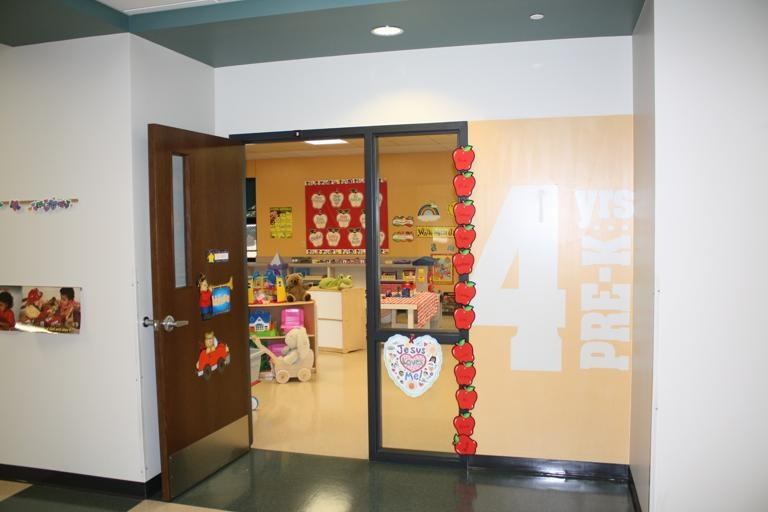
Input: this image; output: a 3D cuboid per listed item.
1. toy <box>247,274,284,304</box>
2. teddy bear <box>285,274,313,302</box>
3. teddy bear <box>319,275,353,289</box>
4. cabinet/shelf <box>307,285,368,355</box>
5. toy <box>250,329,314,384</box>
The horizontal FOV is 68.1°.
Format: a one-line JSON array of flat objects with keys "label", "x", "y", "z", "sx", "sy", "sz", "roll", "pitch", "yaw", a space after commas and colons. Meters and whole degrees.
[{"label": "toy", "x": -1.441, "y": 0.412, "z": 7.007, "sx": 0.392, "sy": 0.249, "sz": 0.393, "roll": -1, "pitch": 0, "yaw": 17}, {"label": "teddy bear", "x": -1.113, "y": 0.389, "z": 7.026, "sx": 0.348, "sy": 0.410, "sz": 0.299, "roll": 0, "pitch": -7, "yaw": -24}, {"label": "teddy bear", "x": -0.663, "y": 0.365, "z": 7.784, "sx": 0.318, "sy": 0.120, "sz": 0.233, "roll": -2, "pitch": -1, "yaw": 12}, {"label": "cabinet/shelf", "x": -0.750, "y": 0.910, "z": 8.019, "sx": 0.874, "sy": 0.825, "sz": 0.474, "roll": -2, "pitch": -2, "yaw": 38}, {"label": "toy", "x": -1.199, "y": 1.167, "z": 6.869, "sx": 0.791, "sy": 0.688, "sz": 0.495, "roll": -2, "pitch": 5, "yaw": -11}]
